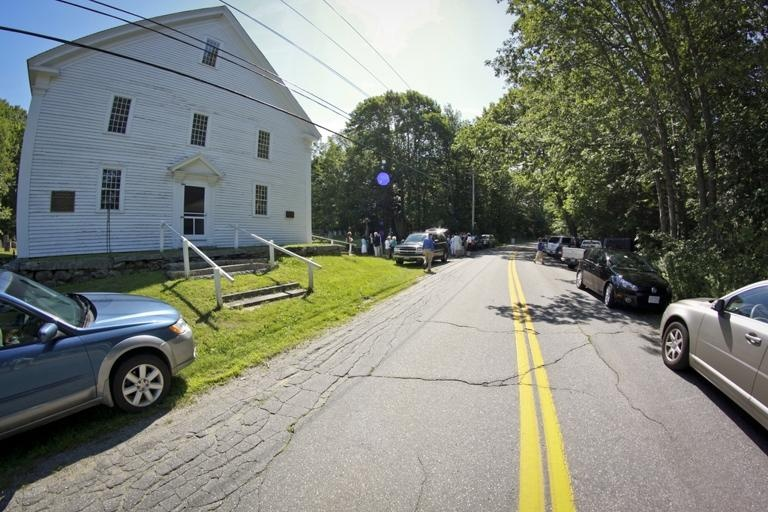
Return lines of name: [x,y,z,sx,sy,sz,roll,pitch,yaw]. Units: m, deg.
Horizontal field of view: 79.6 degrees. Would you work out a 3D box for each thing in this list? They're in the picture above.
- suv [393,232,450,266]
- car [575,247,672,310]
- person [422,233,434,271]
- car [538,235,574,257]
suv: [2.097,-0.463,25.454,1.513,1.372,3.050,-2,-4,32]
car: [7.598,0.704,14.796,1.221,1.168,2.932,2,-1,5]
person: [2.102,-0.081,21.811,0.383,1.651,1.060,-1,9,0]
car: [12.115,-0.642,32.430,1.555,1.505,3.661,-1,13,-1]
